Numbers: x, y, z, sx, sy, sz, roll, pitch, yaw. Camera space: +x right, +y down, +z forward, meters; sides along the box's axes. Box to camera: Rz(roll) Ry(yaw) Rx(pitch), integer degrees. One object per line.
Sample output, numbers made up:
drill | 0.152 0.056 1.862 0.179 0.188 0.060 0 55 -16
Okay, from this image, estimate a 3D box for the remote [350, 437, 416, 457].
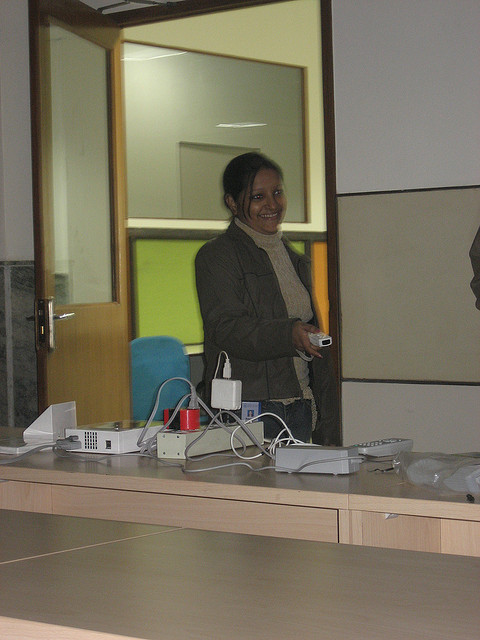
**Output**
remote | 0.342 0.302 1.483 0.129 0.027 0.067 -4 1 -39
